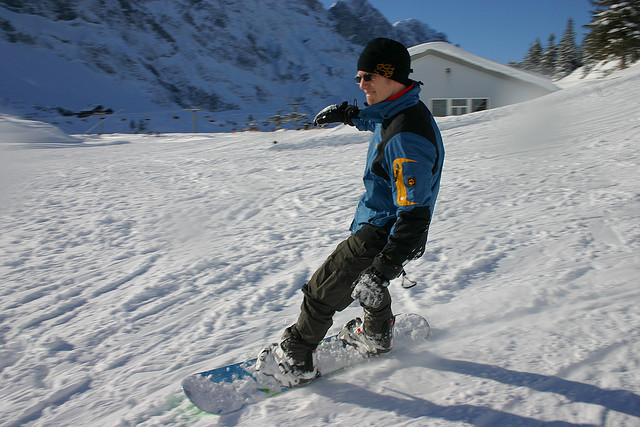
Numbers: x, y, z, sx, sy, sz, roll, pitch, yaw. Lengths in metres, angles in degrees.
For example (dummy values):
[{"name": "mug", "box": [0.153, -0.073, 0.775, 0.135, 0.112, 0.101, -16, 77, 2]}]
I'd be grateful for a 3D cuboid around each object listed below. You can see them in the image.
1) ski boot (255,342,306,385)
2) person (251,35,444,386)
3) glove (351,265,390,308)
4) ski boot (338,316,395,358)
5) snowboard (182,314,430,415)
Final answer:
[{"name": "ski boot", "box": [-0.360, 1.333, 4.750, 0.222, 0.520, 0.352, -62, 16, -5]}, {"name": "person", "box": [0.370, 0.036, 4.566, 1.103, 3.143, 1.616, 12, 27, 38]}, {"name": "glove", "box": [0.414, 0.618, 4.427, 0.209, 0.346, 0.201, -23, 26, -39]}, {"name": "ski boot", "box": [0.441, 1.139, 5.091, 0.672, 0.287, 0.248, 6, 18, 44]}, {"name": "snowboard", "box": [-0.211, 1.494, 5.052, 2.518, 0.218, 0.378, -10, 44, -13]}]
